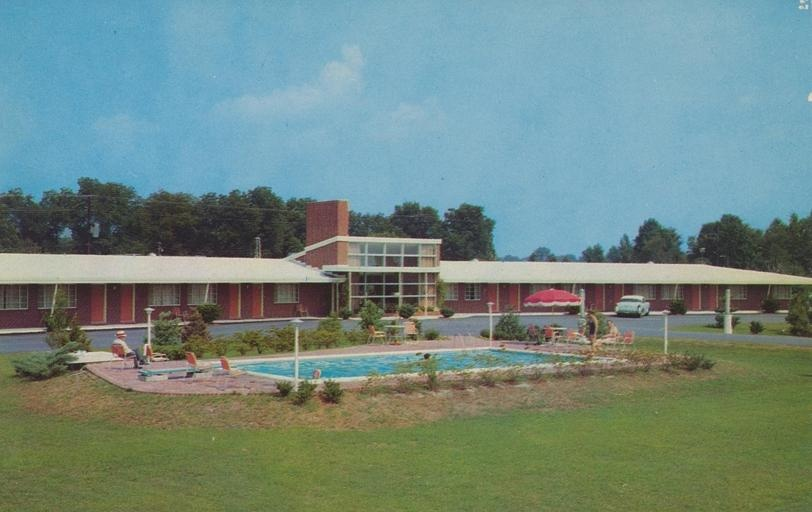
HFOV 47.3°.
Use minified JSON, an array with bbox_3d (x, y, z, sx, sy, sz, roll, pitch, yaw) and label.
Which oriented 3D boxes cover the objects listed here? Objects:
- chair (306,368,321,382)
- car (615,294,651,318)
[{"bbox_3d":[-3.926,5.029,39.330,0.631,0.584,0.544,-2,4,3],"label":"chair"},{"bbox_3d":[17.770,3.864,72.660,2.126,1.777,2.464,-4,-7,19],"label":"car"}]
